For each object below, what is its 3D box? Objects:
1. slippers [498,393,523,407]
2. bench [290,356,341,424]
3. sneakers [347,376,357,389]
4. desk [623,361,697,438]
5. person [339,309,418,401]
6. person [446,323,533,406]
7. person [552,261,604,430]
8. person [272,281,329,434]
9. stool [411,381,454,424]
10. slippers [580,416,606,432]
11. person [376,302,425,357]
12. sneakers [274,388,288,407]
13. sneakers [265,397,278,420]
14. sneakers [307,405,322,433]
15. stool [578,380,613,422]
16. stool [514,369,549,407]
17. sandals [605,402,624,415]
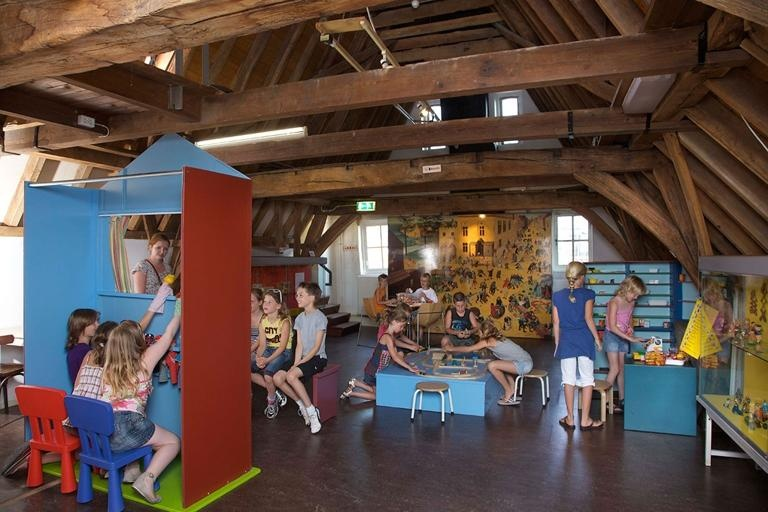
[{"bbox_3d":[1.868,2.118,8.399,0.287,0.079,0.149,2,2,25],"label":"slippers"},{"bbox_3d":[-0.923,1.883,8.278,0.735,0.859,1.013,-1,0,32],"label":"bench"},{"bbox_3d":[-0.489,1.930,8.769,0.123,0.128,0.315,2,1,14],"label":"sneakers"},{"bbox_3d":[3.666,1.852,7.749,0.980,0.825,0.943,1,0,22],"label":"desk"},{"bbox_3d":[-0.056,1.467,8.589,1.113,1.425,0.649,0,12,2],"label":"person"},{"bbox_3d":[1.540,1.565,8.611,1.366,1.083,1.031,1,-2,27],"label":"person"},{"bbox_3d":[2.604,1.184,7.612,0.722,2.135,0.845,3,13,15],"label":"person"},{"bbox_3d":[-1.118,1.312,7.710,0.673,1.894,1.138,-1,12,-5],"label":"person"},{"bbox_3d":[0.655,1.976,7.842,0.627,0.525,0.541,2,11,9],"label":"stool"},{"bbox_3d":[2.762,2.208,7.566,0.393,0.138,0.128,-4,4,-35],"label":"slippers"},{"bbox_3d":[0.235,1.155,8.809,0.755,0.646,0.436,8,16,18],"label":"person"},{"bbox_3d":[-1.558,2.053,8.336,0.308,0.102,0.132,27,-15,45],"label":"sneakers"},{"bbox_3d":[-1.562,2.105,7.939,0.150,0.266,0.123,-2,-18,5],"label":"sneakers"},{"bbox_3d":[-0.902,2.114,7.436,0.139,0.356,0.174,-17,-19,37],"label":"sneakers"},{"bbox_3d":[2.987,2.006,7.984,0.556,0.446,0.519,-1,-1,19],"label":"stool"},{"bbox_3d":[2.243,1.932,8.612,0.491,0.288,0.446,-1,-4,-9],"label":"stool"},{"bbox_3d":[3.301,2.146,8.053,0.325,0.076,0.118,-3,0,23],"label":"sandals"}]
